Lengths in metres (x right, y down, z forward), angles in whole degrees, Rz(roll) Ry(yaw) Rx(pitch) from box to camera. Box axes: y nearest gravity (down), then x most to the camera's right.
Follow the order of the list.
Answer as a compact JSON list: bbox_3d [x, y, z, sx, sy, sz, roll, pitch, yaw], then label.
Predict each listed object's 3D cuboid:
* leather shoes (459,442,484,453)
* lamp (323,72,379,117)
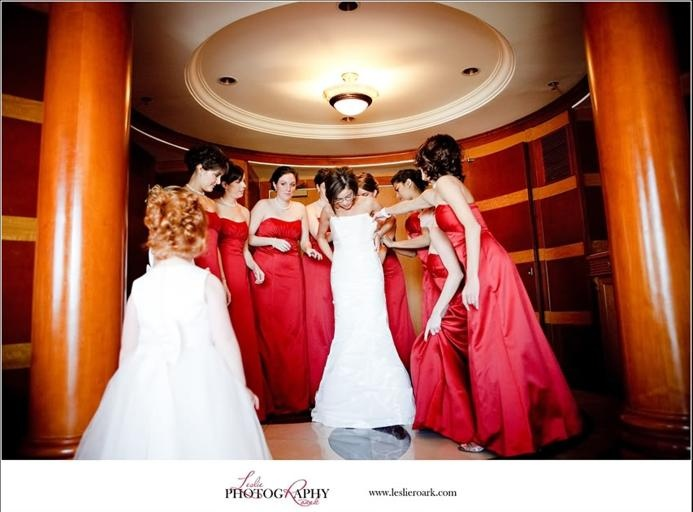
[{"bbox_3d":[0.789,1.216,3.161,0.129,0.038,0.062,-2,8,12],"label":"leather shoes"},{"bbox_3d":[0.045,-1.726,5.390,0.372,0.295,0.385,-1,-9,-1],"label":"lamp"}]
